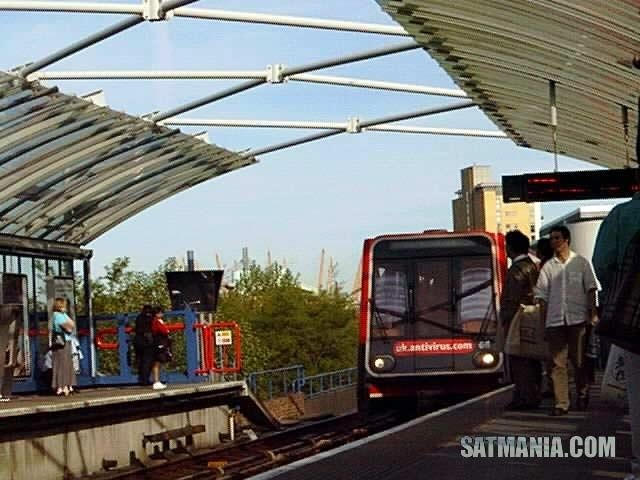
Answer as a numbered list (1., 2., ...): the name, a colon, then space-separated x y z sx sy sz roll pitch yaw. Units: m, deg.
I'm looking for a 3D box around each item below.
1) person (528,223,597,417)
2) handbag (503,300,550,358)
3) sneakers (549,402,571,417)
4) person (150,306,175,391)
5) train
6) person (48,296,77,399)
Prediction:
1. person: 3.332 1.058 13.432 0.842 2.519 0.543 -3 -4 17
2. handbag: 3.054 1.360 14.519 0.813 0.789 0.582 3 -5 6
3. sneakers: 3.220 2.266 13.373 0.216 0.141 0.236 -2 -4 11
4. person: -3.207 2.198 20.486 0.388 1.602 1.491 -1 -4 -8
5. train: 2.221 1.458 19.492 2.493 2.744 3.851 -1 -5 9
6. person: -4.873 2.037 19.131 0.421 1.850 0.644 -1 -4 -15
